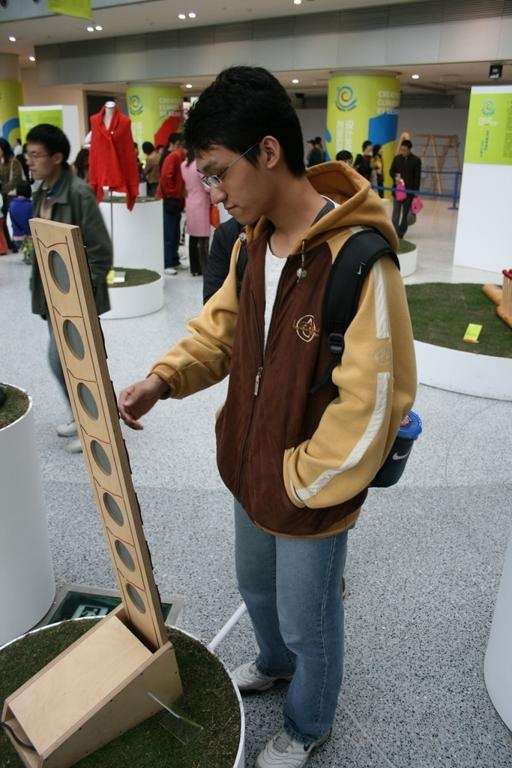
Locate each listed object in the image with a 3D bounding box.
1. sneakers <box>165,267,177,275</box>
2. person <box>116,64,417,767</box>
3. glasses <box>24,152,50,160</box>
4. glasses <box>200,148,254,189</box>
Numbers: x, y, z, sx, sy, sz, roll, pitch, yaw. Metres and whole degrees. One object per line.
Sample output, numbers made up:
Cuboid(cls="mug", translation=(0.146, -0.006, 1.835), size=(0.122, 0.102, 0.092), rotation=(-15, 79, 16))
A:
Cuboid(cls="sneakers", translation=(-1.094, -1.459, 7.273), size=(0.069, 0.077, 0.174), rotation=(-12, 17, -30))
Cuboid(cls="person", translation=(0.038, 0.207, 1.124), size=(0.506, 1.482, 0.342), rotation=(10, 24, 26))
Cuboid(cls="glasses", translation=(-1.026, -1.081, 2.657), size=(0.058, 0.018, 0.060), rotation=(10, 31, 11))
Cuboid(cls="glasses", translation=(-0.042, -0.320, 0.855), size=(0.063, 0.019, 0.059), rotation=(-40, 27, -6))
